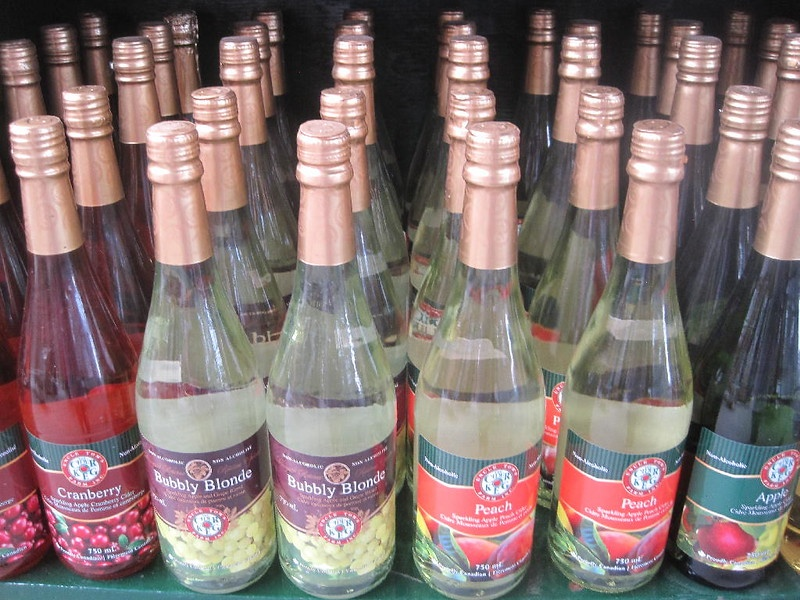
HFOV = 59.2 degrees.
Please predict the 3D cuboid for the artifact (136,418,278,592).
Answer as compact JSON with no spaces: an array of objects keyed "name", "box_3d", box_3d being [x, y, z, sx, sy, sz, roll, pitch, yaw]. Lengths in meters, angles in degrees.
[{"name":"artifact","box_3d":[-0.201,0.209,0.742,0.117,0.193,0.108,13,32,21]}]
